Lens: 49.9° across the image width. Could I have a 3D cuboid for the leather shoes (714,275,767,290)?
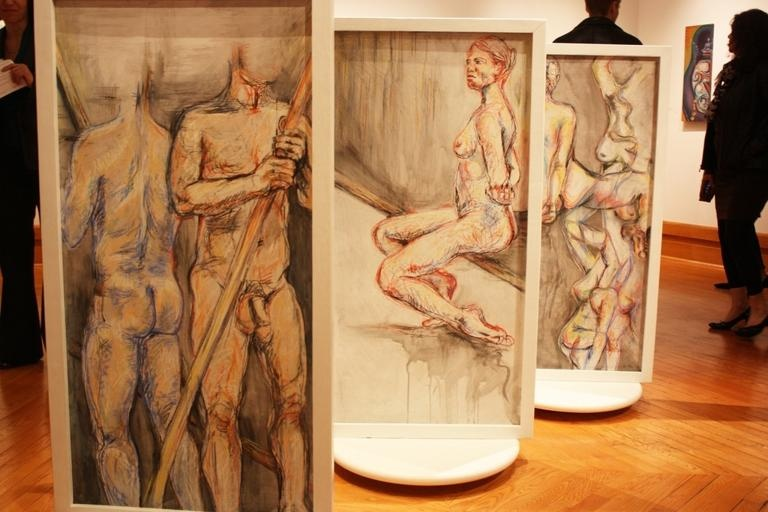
[{"bbox_3d":[2.145,0.166,4.939,0.284,0.133,0.094,-2,-1,7],"label":"leather shoes"}]
